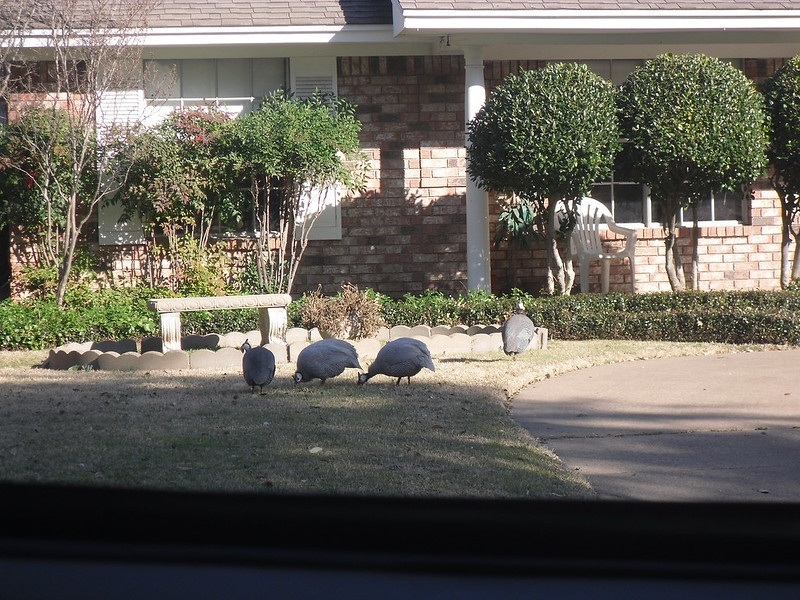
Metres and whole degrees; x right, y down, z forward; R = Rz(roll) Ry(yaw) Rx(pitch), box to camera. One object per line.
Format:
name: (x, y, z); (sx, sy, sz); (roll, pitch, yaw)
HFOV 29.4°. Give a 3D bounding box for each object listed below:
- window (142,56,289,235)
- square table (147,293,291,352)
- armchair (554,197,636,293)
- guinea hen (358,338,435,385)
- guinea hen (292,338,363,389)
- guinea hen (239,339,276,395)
window: (-2.847, -2.218, 22.882); (2.576, 1.615, 0.114); (0, -1, -5)
square table: (-2.380, 0.338, 20.316); (1.886, 0.726, 0.605); (-3, 3, -13)
armchair: (2.946, -0.854, 23.534); (1.293, 2.062, 1.422); (-2, 5, -15)
guinea hen: (-0.073, 0.722, 17.998); (0.859, 0.574, 0.448); (-4, -3, 10)
guinea hen: (-0.883, 0.761, 18.179); (0.874, 0.577, 0.451); (-11, 5, -7)
guinea hen: (-1.680, 0.812, 17.909); (0.385, 0.634, 0.796); (2, 18, -8)
